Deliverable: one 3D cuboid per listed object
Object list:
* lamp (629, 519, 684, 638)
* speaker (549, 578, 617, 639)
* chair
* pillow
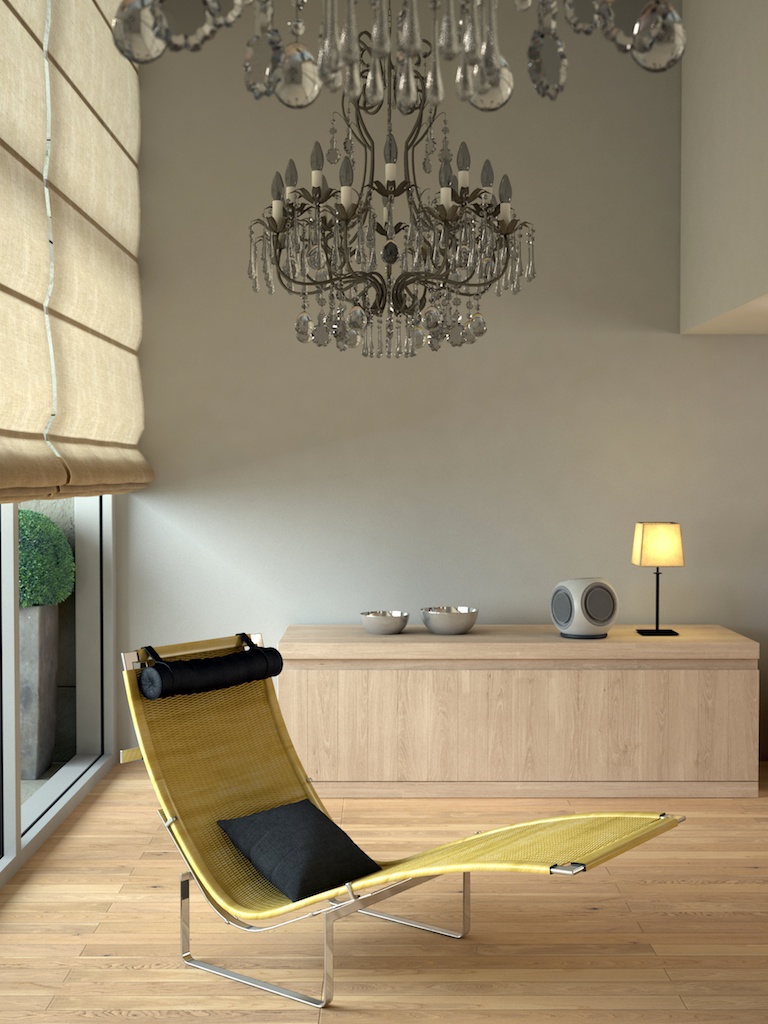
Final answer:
[{"bbox_3d":[1.237,0.294,4.060,0.229,0.615,0.466,-6,-27,19],"label":"lamp"},{"bbox_3d":[0.829,0.406,3.911,0.238,0.255,0.261,1,-6,-29],"label":"speaker"},{"bbox_3d":[0.005,0.794,2.324,1.287,0.850,0.697,-3,-5,33],"label":"chair"},{"bbox_3d":[-0.201,0.876,2.350,0.200,0.077,0.279,-6,19,-30],"label":"pillow"}]
